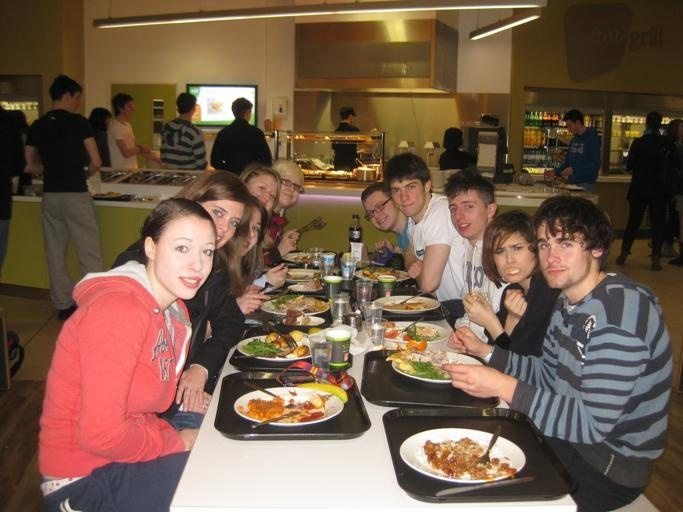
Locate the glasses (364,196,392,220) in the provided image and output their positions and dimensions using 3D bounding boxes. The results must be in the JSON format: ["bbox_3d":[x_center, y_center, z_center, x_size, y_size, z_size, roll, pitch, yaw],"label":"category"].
[{"bbox_3d":[0.268,-0.334,3.738,0.154,0.049,0.160,-29,14,44],"label":"glasses"}]

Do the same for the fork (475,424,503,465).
[{"bbox_3d":[0.409,0.526,1.396,0.033,0.023,0.158,0,18,26],"label":"fork"}]

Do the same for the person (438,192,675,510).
[{"bbox_3d":[0.634,0.224,2.356,1.026,1.631,0.892,0,9,6],"label":"person"}]

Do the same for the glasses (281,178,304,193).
[{"bbox_3d":[-0.389,-0.552,3.957,0.094,0.114,0.331,4,11,25],"label":"glasses"}]

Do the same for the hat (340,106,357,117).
[{"bbox_3d":[0.091,-1.973,7.077,0.190,0.137,0.264,12,37,21],"label":"hat"}]

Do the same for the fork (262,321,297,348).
[{"bbox_3d":[-0.252,0.312,2.055,0.053,0.067,0.465,-4,6,-13],"label":"fork"}]

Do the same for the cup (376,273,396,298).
[{"bbox_3d":[0.231,0.163,2.694,0.102,0.108,0.103,1,0,0],"label":"cup"}]
